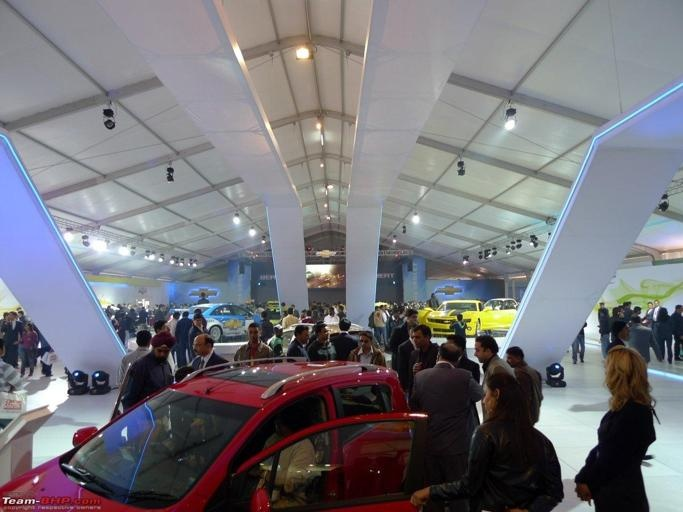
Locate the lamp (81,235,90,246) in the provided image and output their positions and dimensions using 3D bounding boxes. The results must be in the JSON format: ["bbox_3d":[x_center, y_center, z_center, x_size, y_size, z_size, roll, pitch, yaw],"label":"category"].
[{"bbox_3d":[-11.927,-0.694,20.035,0.305,0.534,0.717,1,-4,-31],"label":"lamp"}]

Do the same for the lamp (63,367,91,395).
[{"bbox_3d":[-6.298,2.985,10.221,0.413,0.683,0.619,1,-9,-3],"label":"lamp"}]

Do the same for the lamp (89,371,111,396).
[{"bbox_3d":[-5.611,2.945,10.032,0.415,0.546,0.531,1,-9,-2],"label":"lamp"}]

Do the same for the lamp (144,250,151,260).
[{"bbox_3d":[-12.434,-0.055,27.464,0.392,0.611,0.583,2,-4,-8],"label":"lamp"}]

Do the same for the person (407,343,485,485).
[{"bbox_3d":[1.143,1.887,4.749,0.783,1.772,0.631,0,2,6],"label":"person"}]

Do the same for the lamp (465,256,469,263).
[{"bbox_3d":[9.690,0.253,33.261,0.444,0.457,0.824,3,-15,11],"label":"lamp"}]

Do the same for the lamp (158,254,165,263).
[{"bbox_3d":[-12.376,0.158,29.417,0.490,0.475,0.869,3,8,-5],"label":"lamp"}]

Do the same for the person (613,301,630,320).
[{"bbox_3d":[10.094,1.966,15.447,0.520,0.601,1.268,-4,-4,32],"label":"person"}]

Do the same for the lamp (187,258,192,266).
[{"bbox_3d":[-11.601,0.532,32.946,0.331,0.476,0.154,2,8,4],"label":"lamp"}]

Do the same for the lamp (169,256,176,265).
[{"bbox_3d":[-12.396,0.314,31.356,0.589,0.600,1.076,4,2,-9],"label":"lamp"}]

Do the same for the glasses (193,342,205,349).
[{"bbox_3d":[-1.961,1.231,5.928,0.094,0.122,0.130,3,-22,17],"label":"glasses"}]

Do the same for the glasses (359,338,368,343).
[{"bbox_3d":[0.344,1.313,6.654,0.168,0.070,0.177,3,-13,14],"label":"glasses"}]

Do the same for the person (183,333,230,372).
[{"bbox_3d":[-1.893,1.353,6.055,0.746,0.481,0.416,-4,-2,41],"label":"person"}]

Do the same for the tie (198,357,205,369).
[{"bbox_3d":[-1.932,1.488,5.973,0.039,0.151,0.106,5,-6,2],"label":"tie"}]

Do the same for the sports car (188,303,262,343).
[{"bbox_3d":[-4.907,2.761,18.354,3.469,1.126,1.421,1,-2,-44],"label":"sports car"}]

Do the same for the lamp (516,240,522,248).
[{"bbox_3d":[10.190,-0.683,24.651,0.348,0.497,0.129,4,-7,4],"label":"lamp"}]

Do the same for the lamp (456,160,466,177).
[{"bbox_3d":[4.351,-3.209,15.684,0.335,0.568,0.587,2,7,11],"label":"lamp"}]

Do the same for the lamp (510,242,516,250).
[{"bbox_3d":[10.112,-0.561,25.311,0.091,0.387,0.297,9,12,43],"label":"lamp"}]

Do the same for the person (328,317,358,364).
[{"bbox_3d":[0.026,1.562,7.799,0.527,0.870,0.293,2,16,-10],"label":"person"}]

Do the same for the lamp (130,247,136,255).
[{"bbox_3d":[-12.046,-0.251,25.052,0.492,0.465,0.124,13,7,29],"label":"lamp"}]

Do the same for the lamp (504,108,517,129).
[{"bbox_3d":[4.364,-3.602,11.108,0.242,0.562,0.515,-3,-4,21],"label":"lamp"}]

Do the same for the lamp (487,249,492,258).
[{"bbox_3d":[9.826,-0.195,28.624,0.169,0.415,1.130,-2,-4,14],"label":"lamp"}]

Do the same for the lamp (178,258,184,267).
[{"bbox_3d":[-12.130,0.486,32.483,0.565,0.556,1.008,2,-10,-15],"label":"lamp"}]

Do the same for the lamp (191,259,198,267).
[{"bbox_3d":[-11.646,0.577,33.914,0.471,0.385,0.631,10,-38,-15],"label":"lamp"}]

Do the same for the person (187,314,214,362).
[{"bbox_3d":[-3.449,1.963,10.025,0.326,1.173,0.313,16,3,6],"label":"person"}]

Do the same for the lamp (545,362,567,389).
[{"bbox_3d":[5.331,2.984,10.694,0.560,0.653,0.603,0,-14,1],"label":"lamp"}]
